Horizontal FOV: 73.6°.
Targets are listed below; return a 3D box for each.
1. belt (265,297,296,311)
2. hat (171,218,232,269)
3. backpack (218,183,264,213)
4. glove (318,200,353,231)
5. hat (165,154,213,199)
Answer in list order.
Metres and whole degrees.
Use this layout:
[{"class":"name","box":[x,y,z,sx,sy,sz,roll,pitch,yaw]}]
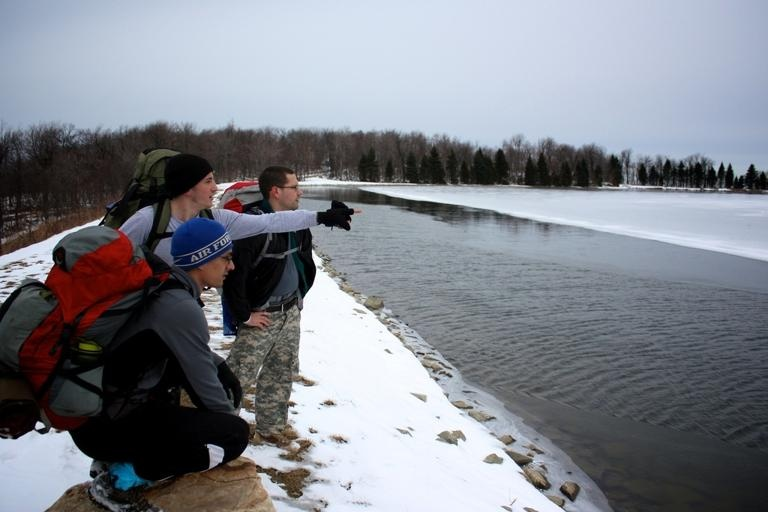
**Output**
[{"class":"belt","box":[-1.073,0.512,5.316,0.189,0.058,0.151,-15,1,-13]},{"class":"hat","box":[-1.492,-0.125,4.164,0.455,0.362,0.341,-20,22,-21]},{"class":"backpack","box":[-1.624,-0.582,5.713,0.410,0.207,0.415,3,26,27]},{"class":"glove","box":[-0.504,-0.382,5.221,0.325,0.145,0.330,3,40,-2]},{"class":"hat","box":[-1.802,-0.741,4.744,0.434,0.366,0.395,-20,30,-10]}]
